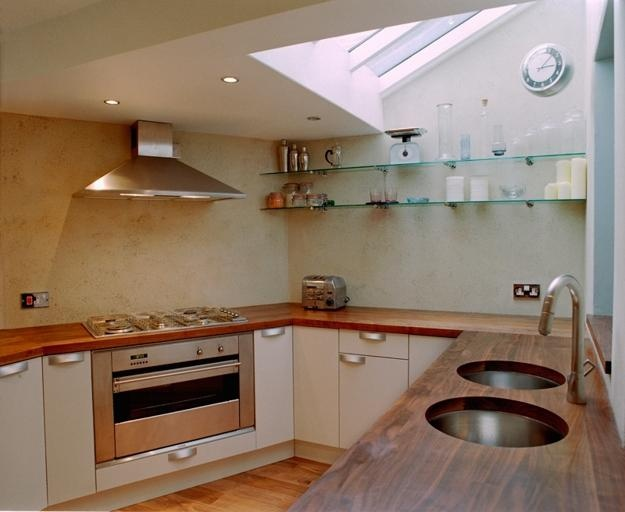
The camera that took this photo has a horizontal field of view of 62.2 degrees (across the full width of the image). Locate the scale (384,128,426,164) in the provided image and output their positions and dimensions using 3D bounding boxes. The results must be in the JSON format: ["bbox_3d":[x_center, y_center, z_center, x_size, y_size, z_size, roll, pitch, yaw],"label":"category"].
[{"bbox_3d":[0.681,-0.788,3.771,0.317,0.244,0.314,-1,9,7],"label":"scale"}]

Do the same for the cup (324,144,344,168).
[{"bbox_3d":[0.183,-0.774,4.034,0.203,0.212,0.117,1,3,24],"label":"cup"}]

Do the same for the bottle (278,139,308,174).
[{"bbox_3d":[-0.161,-0.794,4.162,0.285,0.282,0.115,0,1,-18],"label":"bottle"}]

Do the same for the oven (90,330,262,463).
[{"bbox_3d":[-0.920,0.827,3.362,1.023,0.687,0.663,-2,4,-27],"label":"oven"}]

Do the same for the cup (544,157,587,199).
[{"bbox_3d":[1.590,-0.490,3.260,0.229,0.267,0.112,2,7,23],"label":"cup"}]

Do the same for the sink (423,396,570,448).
[{"bbox_3d":[0.638,0.609,1.833,0.451,0.170,0.164,1,6,16],"label":"sink"}]

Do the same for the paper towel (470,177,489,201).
[{"bbox_3d":[1.132,-0.456,3.512,0.111,0.169,0.071,1,6,8],"label":"paper towel"}]

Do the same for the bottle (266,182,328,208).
[{"bbox_3d":[-0.121,-0.448,4.115,0.382,0.156,0.236,0,1,28],"label":"bottle"}]

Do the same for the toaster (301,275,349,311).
[{"bbox_3d":[0.091,0.280,3.980,0.315,0.243,0.209,0,2,29],"label":"toaster"}]

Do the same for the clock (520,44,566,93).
[{"bbox_3d":[1.503,-1.219,3.352,0.331,0.396,0.053,1,-4,43],"label":"clock"}]

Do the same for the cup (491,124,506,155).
[{"bbox_3d":[1.240,-0.771,3.448,0.097,0.209,0.184,2,7,20],"label":"cup"}]

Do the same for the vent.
[{"bbox_3d":[-0.991,-0.644,3.410,0.989,0.520,0.572,-3,7,-25],"label":"vent"}]

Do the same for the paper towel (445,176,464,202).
[{"bbox_3d":[0.972,-0.463,3.561,0.160,0.197,0.140,1,0,12],"label":"paper towel"}]
